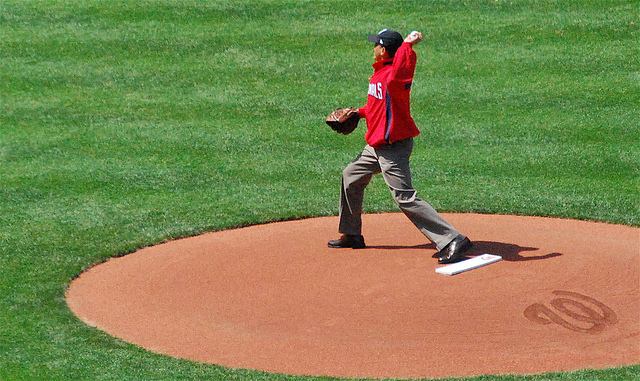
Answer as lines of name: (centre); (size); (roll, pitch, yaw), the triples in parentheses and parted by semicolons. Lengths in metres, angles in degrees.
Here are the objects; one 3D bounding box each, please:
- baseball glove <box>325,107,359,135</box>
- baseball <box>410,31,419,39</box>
baseball glove: (0.426, -1.411, 22.380); (0.655, 0.453, 0.495); (-9, -11, 18)
baseball: (1.736, -2.902, 21.661); (0.147, 0.173, 0.082); (12, -11, 39)
